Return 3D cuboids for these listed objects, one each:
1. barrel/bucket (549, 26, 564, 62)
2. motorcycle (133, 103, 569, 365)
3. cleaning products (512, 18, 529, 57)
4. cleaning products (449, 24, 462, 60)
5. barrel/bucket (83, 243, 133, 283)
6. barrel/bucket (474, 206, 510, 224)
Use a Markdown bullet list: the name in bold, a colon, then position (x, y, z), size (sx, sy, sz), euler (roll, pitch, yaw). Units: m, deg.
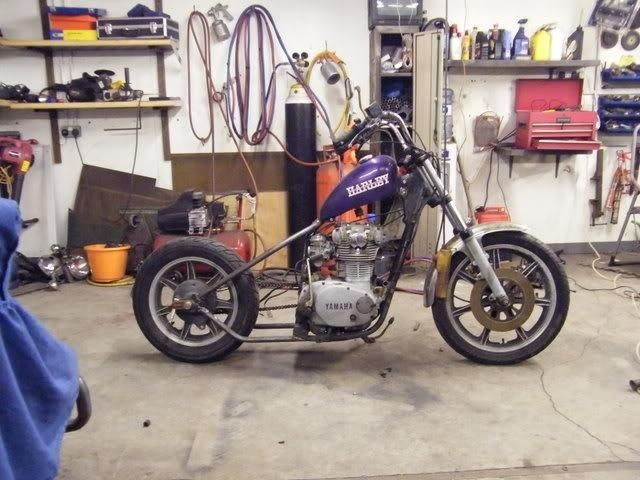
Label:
- **barrel/bucket**: position (2.343, -1.957, 5.538), size (0.141, 0.351, 0.388), euler (6, 16, 22)
- **motorcycle**: position (0.200, -0.036, 3.977), size (2.988, 1.734, 1.397), euler (-2, 5, 1)
- **cleaning products**: position (1.965, -1.956, 5.456), size (0.157, 0.388, 0.358), euler (5, 15, 18)
- **cleaning products**: position (1.280, -1.874, 5.317), size (0.116, 0.314, 0.125), euler (2, 15, 4)
- **barrel/bucket**: position (-1.931, 0.217, 5.042), size (0.356, 0.283, 0.359), euler (0, -1, 0)
- **barrel/bucket**: position (1.572, -0.228, 5.153), size (0.262, 0.264, 0.197), euler (0, -6, -4)
